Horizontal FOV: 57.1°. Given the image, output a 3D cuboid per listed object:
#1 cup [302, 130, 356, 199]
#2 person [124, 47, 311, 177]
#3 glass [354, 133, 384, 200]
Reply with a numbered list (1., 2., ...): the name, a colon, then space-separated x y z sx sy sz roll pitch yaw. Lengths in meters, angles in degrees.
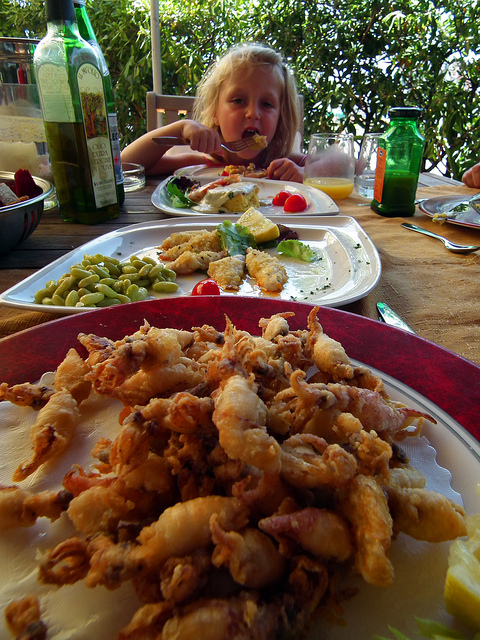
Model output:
1. cup: 0.571 -0.914 2.622 0.345 0.349 0.344 -4 29 2
2. person: -0.009 -1.515 3.261 1.329 0.553 1.375 7 35 10
3. glass: 0.719 -0.851 2.583 0.114 0.431 0.222 12 18 39
